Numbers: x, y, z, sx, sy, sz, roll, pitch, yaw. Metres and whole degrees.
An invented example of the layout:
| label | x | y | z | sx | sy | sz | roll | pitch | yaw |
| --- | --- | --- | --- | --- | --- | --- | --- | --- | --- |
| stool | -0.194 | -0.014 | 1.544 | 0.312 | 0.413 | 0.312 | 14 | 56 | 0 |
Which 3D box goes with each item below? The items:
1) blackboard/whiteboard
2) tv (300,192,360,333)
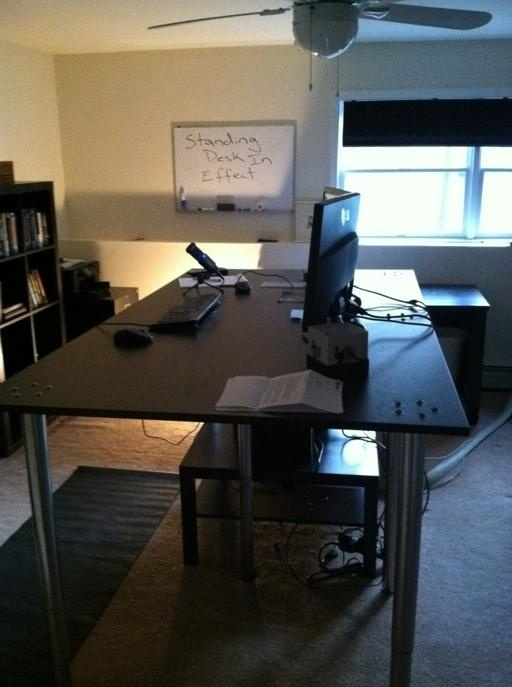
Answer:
| label | x | y | z | sx | sy | sz | roll | pitch | yaw |
| --- | --- | --- | --- | --- | --- | --- | --- | --- | --- |
| blackboard/whiteboard | -0.125 | -1.205 | 3.957 | 0.616 | 0.430 | 0.029 | 1 | 17 | 4 |
| tv | 0.257 | -0.254 | 1.813 | 0.092 | 0.371 | 0.523 | 4 | 20 | 20 |
